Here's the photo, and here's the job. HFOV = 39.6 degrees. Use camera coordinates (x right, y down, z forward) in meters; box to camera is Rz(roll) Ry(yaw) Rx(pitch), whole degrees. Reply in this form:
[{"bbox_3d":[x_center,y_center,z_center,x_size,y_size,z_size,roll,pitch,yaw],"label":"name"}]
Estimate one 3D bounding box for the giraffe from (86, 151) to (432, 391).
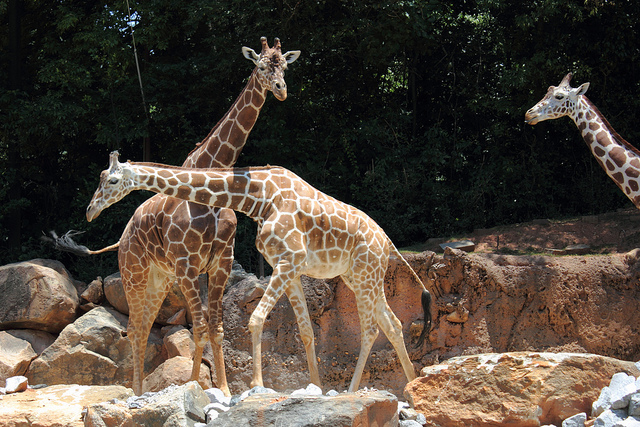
[{"bbox_3d":[-1.257,1.061,16.493,5.985,4.060,2.147,-3,15,-14],"label":"giraffe"}]
